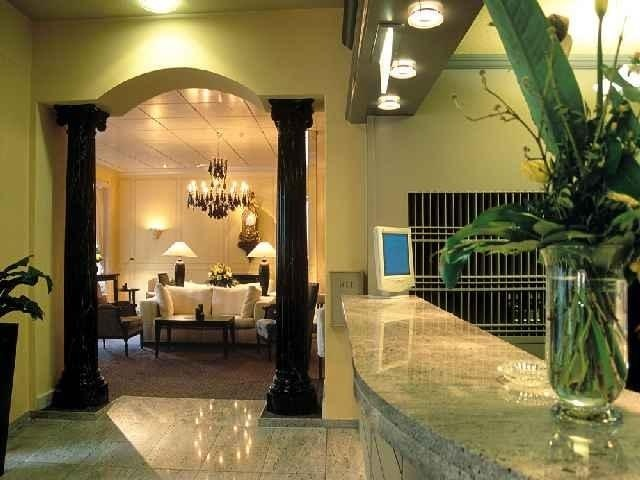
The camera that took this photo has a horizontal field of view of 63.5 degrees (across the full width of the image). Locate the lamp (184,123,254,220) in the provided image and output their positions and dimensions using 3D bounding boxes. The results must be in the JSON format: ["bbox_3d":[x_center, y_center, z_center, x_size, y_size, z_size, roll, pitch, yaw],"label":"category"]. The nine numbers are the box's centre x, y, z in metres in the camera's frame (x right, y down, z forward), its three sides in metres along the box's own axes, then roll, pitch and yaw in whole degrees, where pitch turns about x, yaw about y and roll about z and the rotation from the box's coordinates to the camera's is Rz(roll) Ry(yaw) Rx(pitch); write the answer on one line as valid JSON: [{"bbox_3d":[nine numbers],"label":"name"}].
[{"bbox_3d":[-1.826,-1.046,9.383,1.296,1.920,1.326,-1,2,-13],"label":"lamp"}]

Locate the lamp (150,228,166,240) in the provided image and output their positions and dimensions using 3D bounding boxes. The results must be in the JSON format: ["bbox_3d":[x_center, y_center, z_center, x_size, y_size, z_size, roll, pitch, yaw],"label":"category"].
[{"bbox_3d":[-3.486,-0.147,11.066,0.249,0.132,0.232,0,-13,-11],"label":"lamp"}]

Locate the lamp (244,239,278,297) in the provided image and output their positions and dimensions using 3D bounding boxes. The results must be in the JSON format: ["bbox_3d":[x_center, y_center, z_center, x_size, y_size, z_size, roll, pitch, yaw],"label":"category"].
[{"bbox_3d":[-1.138,0.601,10.538,0.638,1.058,0.686,0,-1,-15],"label":"lamp"}]

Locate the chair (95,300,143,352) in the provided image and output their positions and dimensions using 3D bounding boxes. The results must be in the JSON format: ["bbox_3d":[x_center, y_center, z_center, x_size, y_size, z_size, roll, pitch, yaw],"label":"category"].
[{"bbox_3d":[-2.881,1.158,7.354,0.688,0.664,0.670,-1,0,-16],"label":"chair"}]

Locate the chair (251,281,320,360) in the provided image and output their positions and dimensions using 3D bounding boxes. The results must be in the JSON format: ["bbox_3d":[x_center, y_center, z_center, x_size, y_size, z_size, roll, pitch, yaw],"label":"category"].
[{"bbox_3d":[-0.446,1.107,7.321,0.898,1.039,0.808,0,-4,-5],"label":"chair"}]

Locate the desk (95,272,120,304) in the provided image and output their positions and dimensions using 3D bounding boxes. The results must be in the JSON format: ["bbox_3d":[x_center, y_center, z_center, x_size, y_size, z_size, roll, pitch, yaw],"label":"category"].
[{"bbox_3d":[-4.317,0.983,10.682,0.546,0.463,0.530,-9,4,40],"label":"desk"}]

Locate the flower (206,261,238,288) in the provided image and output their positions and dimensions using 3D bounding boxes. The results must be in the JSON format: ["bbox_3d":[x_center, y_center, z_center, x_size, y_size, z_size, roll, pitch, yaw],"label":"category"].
[{"bbox_3d":[-1.647,0.592,8.837,0.396,0.456,0.443,-3,-4,13],"label":"flower"}]

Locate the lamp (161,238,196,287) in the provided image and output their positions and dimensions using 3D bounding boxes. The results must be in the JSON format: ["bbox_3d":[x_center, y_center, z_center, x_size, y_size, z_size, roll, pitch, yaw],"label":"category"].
[{"bbox_3d":[-2.913,0.512,10.743,0.739,0.916,0.726,-3,-5,42],"label":"lamp"}]

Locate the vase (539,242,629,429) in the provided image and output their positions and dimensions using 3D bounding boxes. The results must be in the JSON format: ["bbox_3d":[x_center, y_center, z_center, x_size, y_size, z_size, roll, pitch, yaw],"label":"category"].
[{"bbox_3d":[0.710,0.252,1.395,0.202,0.464,0.093,1,1,26],"label":"vase"}]

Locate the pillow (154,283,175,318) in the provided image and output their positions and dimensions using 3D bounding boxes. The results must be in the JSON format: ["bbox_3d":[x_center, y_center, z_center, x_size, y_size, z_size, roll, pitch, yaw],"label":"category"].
[{"bbox_3d":[-2.285,0.912,7.590,0.129,0.299,0.379,-6,30,-7],"label":"pillow"}]

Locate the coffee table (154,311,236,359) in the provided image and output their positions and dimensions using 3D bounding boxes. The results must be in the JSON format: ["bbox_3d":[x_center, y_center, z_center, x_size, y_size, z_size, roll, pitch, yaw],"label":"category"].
[{"bbox_3d":[-1.738,1.326,7.199,1.068,0.533,0.735,0,1,0],"label":"coffee table"}]
